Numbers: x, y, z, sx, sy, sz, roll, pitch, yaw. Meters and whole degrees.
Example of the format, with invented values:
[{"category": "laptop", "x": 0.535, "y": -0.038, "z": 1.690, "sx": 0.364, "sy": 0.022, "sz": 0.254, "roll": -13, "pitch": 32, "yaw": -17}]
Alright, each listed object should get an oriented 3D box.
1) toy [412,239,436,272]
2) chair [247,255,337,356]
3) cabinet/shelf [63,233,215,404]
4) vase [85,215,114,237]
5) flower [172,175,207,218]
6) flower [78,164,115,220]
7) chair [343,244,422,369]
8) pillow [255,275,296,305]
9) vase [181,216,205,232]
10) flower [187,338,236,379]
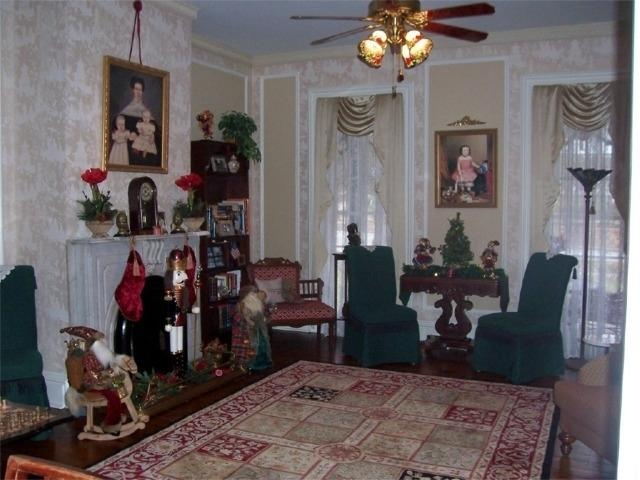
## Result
[{"category": "toy", "x": 1.312, "y": 0.184, "z": 6.724, "sx": 0.354, "sy": 0.527, "sz": 0.375, "roll": 0, "pitch": 0, "yaw": 1}, {"category": "chair", "x": -0.368, "y": 0.719, "z": 6.686, "sx": 1.251, "sy": 1.668, "sz": 1.153, "roll": -1, "pitch": -1, "yaw": -23}, {"category": "cabinet/shelf", "x": -1.786, "y": 0.752, "z": 4.922, "sx": 0.413, "sy": 1.455, "sz": 1.546, "roll": 2, "pitch": 4, "yaw": 29}, {"category": "vase", "x": -2.059, "y": -0.116, "z": 4.800, "sx": 0.185, "sy": 0.118, "sz": 0.187, "roll": 1, "pitch": -6, "yaw": -9}, {"category": "flower", "x": -1.539, "y": -0.507, "z": 6.072, "sx": 0.318, "sy": 0.488, "sz": 0.965, "roll": -1, "pitch": 6, "yaw": -12}, {"category": "flower", "x": -2.098, "y": -0.428, "z": 4.840, "sx": 0.332, "sy": 0.496, "sz": 0.323, "roll": -6, "pitch": 8, "yaw": -43}, {"category": "chair", "x": 0.715, "y": 0.791, "z": 6.334, "sx": 0.822, "sy": 1.346, "sz": 0.823, "roll": -1, "pitch": 6, "yaw": -13}, {"category": "pillow", "x": -0.545, "y": 0.640, "z": 6.628, "sx": 0.386, "sy": 0.356, "sz": 0.115, "roll": 0, "pitch": -14, "yaw": -20}, {"category": "vase", "x": -1.451, "y": -0.174, "z": 5.797, "sx": 0.181, "sy": 0.107, "sz": 0.183, "roll": -2, "pitch": -1, "yaw": 23}, {"category": "flower", "x": -1.192, "y": 1.252, "z": 5.441, "sx": 0.268, "sy": 0.153, "sz": 0.383, "roll": 3, "pitch": 10, "yaw": 12}]
